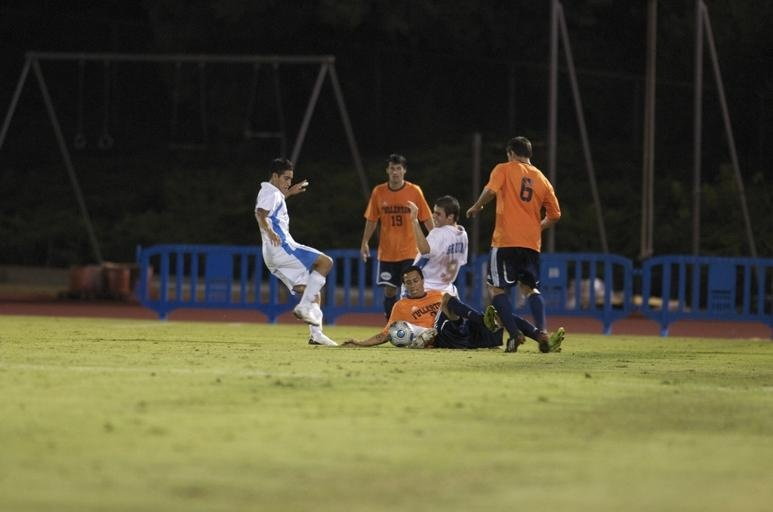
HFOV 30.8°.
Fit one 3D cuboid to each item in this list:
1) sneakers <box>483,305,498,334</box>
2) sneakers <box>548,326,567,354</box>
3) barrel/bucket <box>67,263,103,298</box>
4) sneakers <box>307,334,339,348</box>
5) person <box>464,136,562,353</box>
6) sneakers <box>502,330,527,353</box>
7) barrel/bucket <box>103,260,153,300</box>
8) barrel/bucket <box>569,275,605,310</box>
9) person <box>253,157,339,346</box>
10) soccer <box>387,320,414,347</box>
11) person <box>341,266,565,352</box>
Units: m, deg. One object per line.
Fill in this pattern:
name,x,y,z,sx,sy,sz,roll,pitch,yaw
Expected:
sneakers,1.432,0.864,19.190,0.156,0.340,0.161,4,16,11
sneakers,2.323,1.158,19.089,0.282,0.412,0.123,12,-13,-28
barrel/bucket,-5.643,0.481,26.076,0.714,0.674,0.671,0,-3,0
sneakers,-0.909,1.217,19.889,0.449,0.167,0.155,0,-1,9
person,1.756,-0.165,19.547,1.292,3.158,0.958,10,-17,-29
sneakers,1.756,1.186,19.002,0.112,0.296,0.221,28,-35,-19
barrel/bucket,-4.421,0.379,23.755,0.793,0.491,0.810,1,6,0
barrel/bucket,3.586,0.675,24.910,0.748,0.474,0.409,0,-6,-10
person,-1.313,-0.010,19.961,1.143,2.649,0.831,13,20,41
soccer,0.204,1.114,19.570,0.340,0.375,0.344,26,-34,-29
person,1.138,0.903,19.948,2.640,1.015,1.561,-3,12,-28
